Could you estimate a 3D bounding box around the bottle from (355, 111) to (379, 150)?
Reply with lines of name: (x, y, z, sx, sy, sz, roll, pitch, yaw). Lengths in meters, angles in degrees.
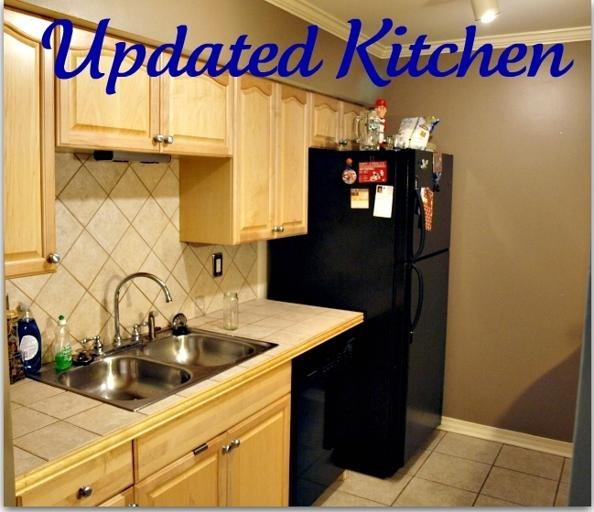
bottle: (0.454, -0.807, 3.174, 0.142, 0.277, 0.243, 9, 16, 40)
